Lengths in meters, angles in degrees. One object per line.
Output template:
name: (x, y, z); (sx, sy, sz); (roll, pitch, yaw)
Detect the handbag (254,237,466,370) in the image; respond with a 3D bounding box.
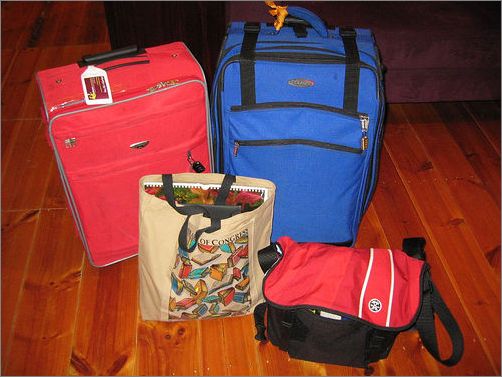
handbag: (0.342, 0.358, 1.505); (0.480, 0.197, 0.559); (5, 72, 7)

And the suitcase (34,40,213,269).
suitcase: (-0.444, -0.087, 1.625); (0.587, 0.839, 0.432); (-17, 51, -12)

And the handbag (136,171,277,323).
handbag: (-0.155, 0.195, 1.574); (0.388, 0.513, 0.256); (3, 30, -6)
